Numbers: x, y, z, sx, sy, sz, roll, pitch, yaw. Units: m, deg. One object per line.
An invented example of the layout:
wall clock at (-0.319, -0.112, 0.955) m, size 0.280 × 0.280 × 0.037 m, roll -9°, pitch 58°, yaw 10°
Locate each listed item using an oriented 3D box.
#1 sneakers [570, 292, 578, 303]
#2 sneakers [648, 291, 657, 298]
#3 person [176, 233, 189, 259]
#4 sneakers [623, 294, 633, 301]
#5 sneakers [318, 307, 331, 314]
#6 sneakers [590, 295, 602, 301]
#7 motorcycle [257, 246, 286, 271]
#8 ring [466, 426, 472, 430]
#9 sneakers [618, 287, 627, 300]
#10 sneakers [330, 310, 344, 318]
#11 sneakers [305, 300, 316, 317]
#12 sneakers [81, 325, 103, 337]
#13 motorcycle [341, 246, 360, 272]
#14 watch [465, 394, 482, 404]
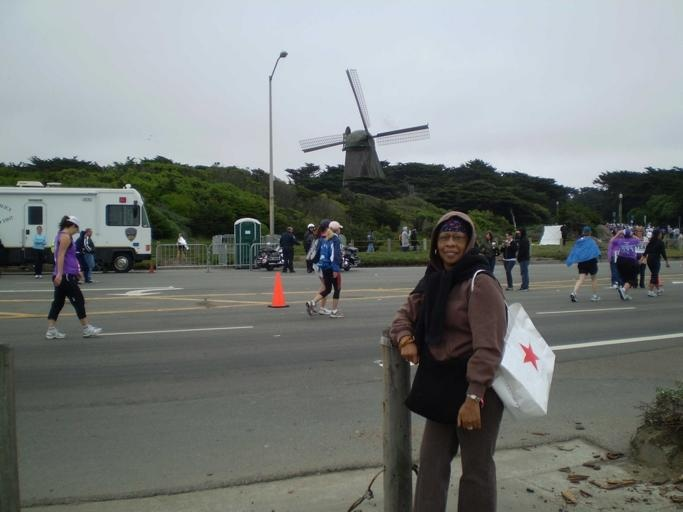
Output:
sneakers at (6.353, 1.122, 15.865) m, size 0.133 × 0.411 × 0.166 m, roll -9°, pitch 3°, yaw 16°
sneakers at (9.329, 1.133, 17.451) m, size 0.371 × 0.174 × 0.133 m, roll -4°, pitch 6°, yaw -37°
person at (-7.939, -0.427, 28.972) m, size 0.538 × 1.137 × 1.202 m, roll -1°, pitch 4°, yaw -20°
sneakers at (8.154, 1.166, 16.557) m, size 0.117 × 0.140 × 0.308 m, roll -11°, pitch -17°, yaw 38°
sneakers at (-0.410, 1.273, 13.605) m, size 0.250 × 0.121 × 0.124 m, roll 0°, pitch -2°, yaw -2°
sneakers at (7.129, 1.174, 16.380) m, size 0.157 × 0.187 × 0.409 m, roll 0°, pitch 2°, yaw 31°
motorcycle at (-3.390, 0.129, 28.265) m, size 1.473 × 0.811 × 0.891 m, roll 0°, pitch -1°, yaw 36°
ring at (0.839, 1.129, 3.804) m, size 0.027 × 0.008 × 0.031 m, roll -4°, pitch -7°, yaw 24°
sneakers at (7.911, 1.062, 16.379) m, size 0.140 × 0.458 × 0.181 m, roll -14°, pitch -12°, yaw 42°
sneakers at (-0.109, 1.308, 13.133) m, size 0.346 × 0.263 × 0.138 m, roll 0°, pitch 0°, yaw -6°
sneakers at (-0.714, 1.236, 13.121) m, size 0.141 × 0.473 × 0.203 m, roll 1°, pitch 14°, yaw 42°
sneakers at (-4.681, 1.384, 10.740) m, size 0.471 × 0.263 × 0.177 m, roll -2°, pitch -4°, yaw -1°
motorcycle at (0.405, 0.074, 28.030) m, size 1.090 × 0.721 × 0.708 m, roll 2°, pitch -7°, yaw -31°
watch at (0.866, 0.923, 3.762) m, size 0.056 × 0.028 × 0.073 m, roll 26°, pitch -2°, yaw -22°
